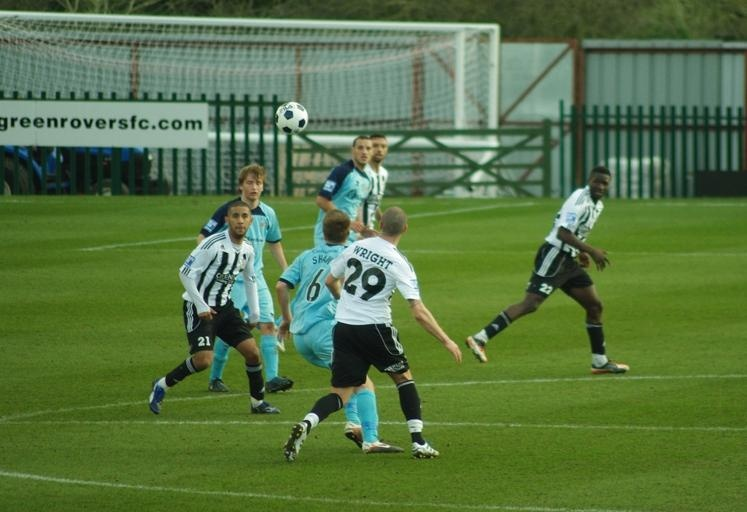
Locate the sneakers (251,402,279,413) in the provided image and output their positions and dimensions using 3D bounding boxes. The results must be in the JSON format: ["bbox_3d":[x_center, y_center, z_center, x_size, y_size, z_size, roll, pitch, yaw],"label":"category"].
[{"bbox_3d":[-1.678,2.334,21.296,0.446,0.167,0.165,0,1,-1],"label":"sneakers"}]

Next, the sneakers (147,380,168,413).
[{"bbox_3d":[-3.349,2.130,21.129,0.216,0.569,0.280,8,-13,-37],"label":"sneakers"}]

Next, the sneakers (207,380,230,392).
[{"bbox_3d":[-2.489,2.065,22.021,0.161,0.137,0.345,1,-6,-34],"label":"sneakers"}]

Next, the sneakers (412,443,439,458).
[{"bbox_3d":[0.771,2.834,20.136,0.438,0.199,0.170,2,0,-6],"label":"sneakers"}]

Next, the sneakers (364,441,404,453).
[{"bbox_3d":[0.174,2.806,20.339,0.606,0.194,0.206,0,-3,-3],"label":"sneakers"}]

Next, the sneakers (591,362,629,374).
[{"bbox_3d":[3.961,1.813,22.609,0.584,0.217,0.229,-2,2,2],"label":"sneakers"}]

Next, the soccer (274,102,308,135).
[{"bbox_3d":[-1.660,-2.830,27.858,0.603,0.612,0.816,-1,7,-5],"label":"soccer"}]

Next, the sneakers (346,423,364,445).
[{"bbox_3d":[-0.291,2.612,20.293,0.153,0.171,0.420,-25,-54,33],"label":"sneakers"}]
